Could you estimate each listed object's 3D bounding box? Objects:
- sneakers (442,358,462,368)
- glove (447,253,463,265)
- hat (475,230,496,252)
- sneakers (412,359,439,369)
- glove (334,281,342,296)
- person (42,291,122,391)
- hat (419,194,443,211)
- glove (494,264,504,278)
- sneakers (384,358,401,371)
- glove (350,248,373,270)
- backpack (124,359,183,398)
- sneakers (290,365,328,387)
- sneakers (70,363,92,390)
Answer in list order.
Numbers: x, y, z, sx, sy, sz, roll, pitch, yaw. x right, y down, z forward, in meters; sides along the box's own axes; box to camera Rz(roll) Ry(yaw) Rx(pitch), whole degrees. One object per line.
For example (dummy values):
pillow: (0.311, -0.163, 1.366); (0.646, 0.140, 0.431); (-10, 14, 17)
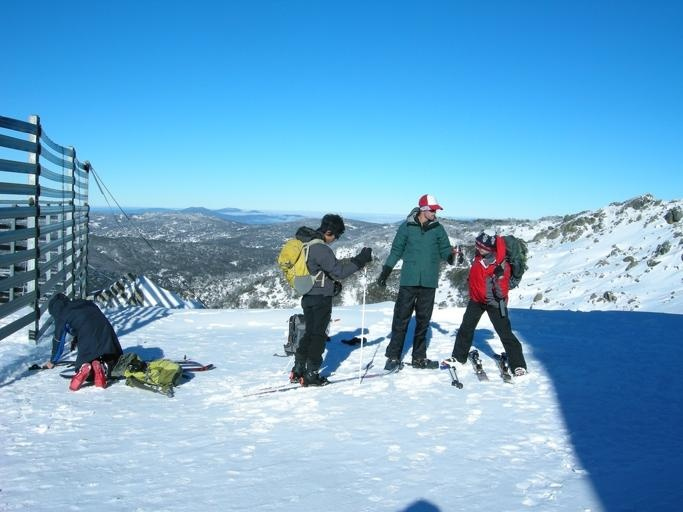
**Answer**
sneakers: (1.616, 1.529, 6.782); (0.333, 0.126, 0.115); (5, 4, 29)
glove: (1.634, 0.033, 6.717); (0.206, 0.079, 0.250); (-5, -3, 13)
hat: (1.965, -0.184, 6.383); (0.265, 0.276, 0.154); (2, 8, 11)
sneakers: (1.260, 1.612, 7.040); (0.316, 0.104, 0.156); (-4, -5, 15)
glove: (-0.043, 0.454, 6.493); (0.072, 0.168, 0.142); (6, 7, -6)
person: (-3.276, 1.087, 6.095); (0.742, 1.136, 0.729); (-5, 9, -32)
hat: (1.265, -0.747, 6.667); (0.241, 0.234, 0.528); (1, 7, 3)
glove: (2.114, 0.204, 6.284); (0.120, 0.172, 0.045); (1, 8, 3)
sneakers: (0.757, 1.599, 6.893); (0.242, 0.184, 0.151); (0, -4, 3)
glove: (0.279, 0.025, 6.307); (0.262, 0.280, 0.340); (0, 7, 1)
backpack: (-2.421, 1.576, 6.076); (0.516, 0.160, 0.459); (8, 3, -16)
sneakers: (-0.376, 1.652, 6.398); (0.638, 0.227, 0.194); (0, -3, 1)
sneakers: (-3.238, 1.517, 5.887); (0.127, 0.374, 0.162); (50, -13, -21)
